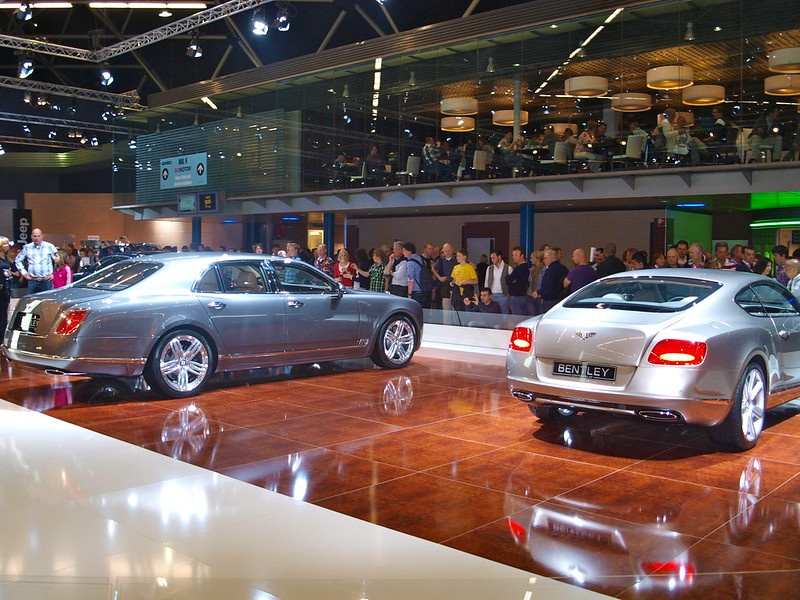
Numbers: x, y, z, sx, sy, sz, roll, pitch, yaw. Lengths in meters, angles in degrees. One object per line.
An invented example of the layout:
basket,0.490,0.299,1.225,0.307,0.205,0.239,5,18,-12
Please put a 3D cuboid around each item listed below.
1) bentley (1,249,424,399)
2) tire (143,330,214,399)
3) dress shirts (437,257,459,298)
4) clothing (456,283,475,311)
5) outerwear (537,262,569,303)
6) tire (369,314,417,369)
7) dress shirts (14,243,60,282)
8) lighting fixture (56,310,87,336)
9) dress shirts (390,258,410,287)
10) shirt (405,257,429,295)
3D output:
bentley,-2.328,0.271,8.120,4.945,1.325,2.172,-1,2,-36
tire,-2.884,0.794,6.944,0.866,0.776,0.301,11,-2,-40
dress shirts,1.117,-0.533,13.105,0.797,0.905,0.359,-1,-5,39
clothing,1.500,-0.081,12.242,0.411,0.567,0.306,2,2,8
outerwear,2.969,-0.324,10.399,0.499,0.764,0.783,12,13,33
tire,-0.124,0.684,9.272,0.953,0.848,0.341,4,2,-44
dress shirts,-8.404,-0.935,12.617,1.195,0.809,0.435,-1,12,-5
lighting fixture,-3.947,0.284,6.540,0.229,0.382,0.092,40,1,7
dress shirts,0.011,-0.637,12.909,0.559,0.832,0.743,1,4,-1
shirt,0.398,-0.552,12.293,0.513,0.839,0.822,-2,6,16
